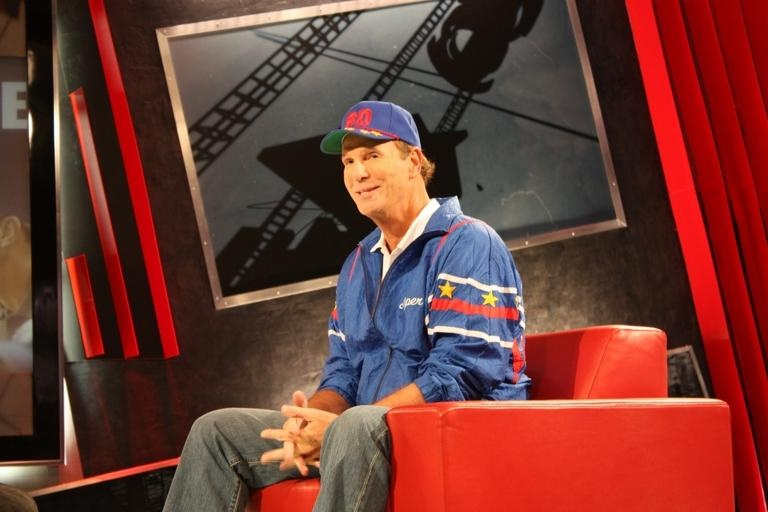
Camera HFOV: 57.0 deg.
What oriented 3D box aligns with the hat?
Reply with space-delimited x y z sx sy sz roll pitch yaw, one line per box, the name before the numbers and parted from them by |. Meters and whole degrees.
hat | -0.055 -0.600 3.253 0.327 0.187 0.254 15 -2 -9
